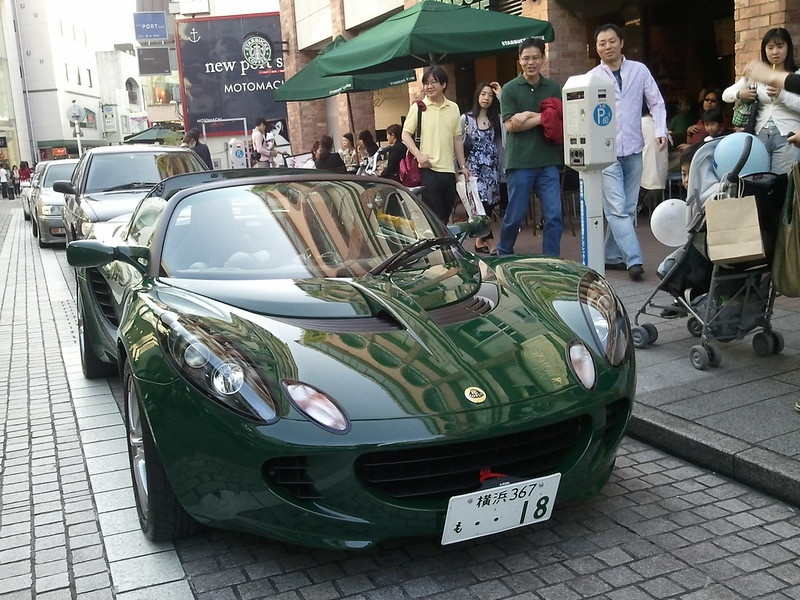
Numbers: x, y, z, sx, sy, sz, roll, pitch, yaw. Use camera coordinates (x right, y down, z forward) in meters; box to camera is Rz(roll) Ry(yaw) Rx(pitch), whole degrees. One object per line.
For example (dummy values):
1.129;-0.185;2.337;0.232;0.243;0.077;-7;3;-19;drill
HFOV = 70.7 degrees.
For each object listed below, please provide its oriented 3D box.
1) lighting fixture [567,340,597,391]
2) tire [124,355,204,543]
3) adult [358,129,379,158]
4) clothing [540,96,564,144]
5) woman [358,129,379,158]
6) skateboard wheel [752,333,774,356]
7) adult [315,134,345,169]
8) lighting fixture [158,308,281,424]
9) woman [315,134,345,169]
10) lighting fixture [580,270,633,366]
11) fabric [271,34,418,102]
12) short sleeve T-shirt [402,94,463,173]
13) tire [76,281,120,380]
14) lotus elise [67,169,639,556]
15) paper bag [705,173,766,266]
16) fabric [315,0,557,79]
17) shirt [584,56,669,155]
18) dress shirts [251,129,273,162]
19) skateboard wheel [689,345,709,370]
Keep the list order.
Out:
0.813;0.286;2.516;0.130;0.039;0.165;15;46;-26;lighting fixture
-1.033;0.662;2.506;0.257;0.736;0.751;-4;21;-19;tire
-0.760;-3.671;13.402;0.402;0.614;0.934;-4;8;-3;adult
1.792;-2.094;6.600;0.167;0.442;0.465;10;17;36;clothing
-0.760;-3.671;13.402;0.402;0.614;0.934;-4;8;-3;woman
2.768;0.330;4.302;0.060;0.160;0.162;-5;-4;-19;skateboard wheel
-1.535;-3.145;12.222;0.590;0.762;1.277;-5;8;-8;adult
-0.718;0.294;2.461;0.717;0.252;0.218;30;-11;31;lighting fixture
-1.534;-3.156;12.201;0.590;0.734;0.975;-5;8;-8;woman
0.965;0.092;2.865;0.243;0.438;0.118;-5;-22;-42;lighting fixture
-0.943;-4.393;11.382;2.249;1.046;2.202;-18;23;-24;fabric
0.452;-2.242;7.686;0.830;1.029;0.273;-6;8;-13;short sleeve T-shirt
-2.437;0.235;4.585;0.222;0.713;0.727;0;21;-37;tire
-0.169;0.092;2.834;2.408;1.587;1.700;1;9;27;lotus elise
2.360;-0.506;3.995;0.357;0.503;0.194;0;9;27;paper bag
0.630;-3.563;7.619;1.990;0.560;1.964;-21;26;-14;fabric
2.812;-2.265;6.611;0.497;1.121;0.439;0;9;23;shirt
-4.287;-4.835;17.663;0.614;0.939;1.035;-6;8;-13;dress shirts
2.193;0.416;4.140;0.052;0.141;0.144;-7;21;-22;skateboard wheel
